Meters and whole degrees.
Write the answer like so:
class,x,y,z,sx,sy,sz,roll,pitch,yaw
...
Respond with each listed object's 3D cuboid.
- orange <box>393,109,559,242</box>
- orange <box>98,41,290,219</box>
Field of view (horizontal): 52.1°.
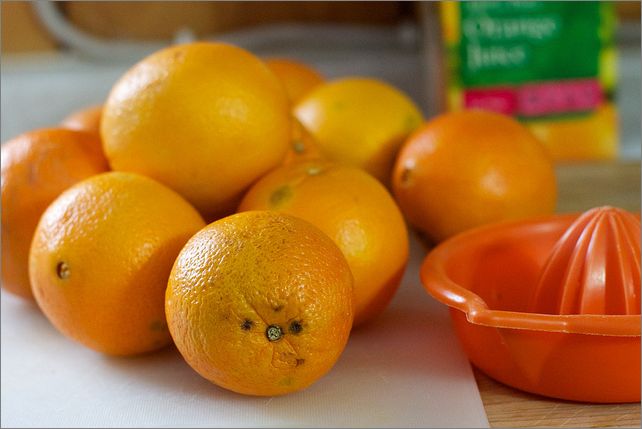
class,x,y,z,sx,sy,sz,roll,pitch,yaw
orange,0.132,-0.033,0.617,0.147,0.123,0.132,3,76,-8
orange,-0.127,-0.071,0.629,0.171,0.151,0.152,-2,56,-15
